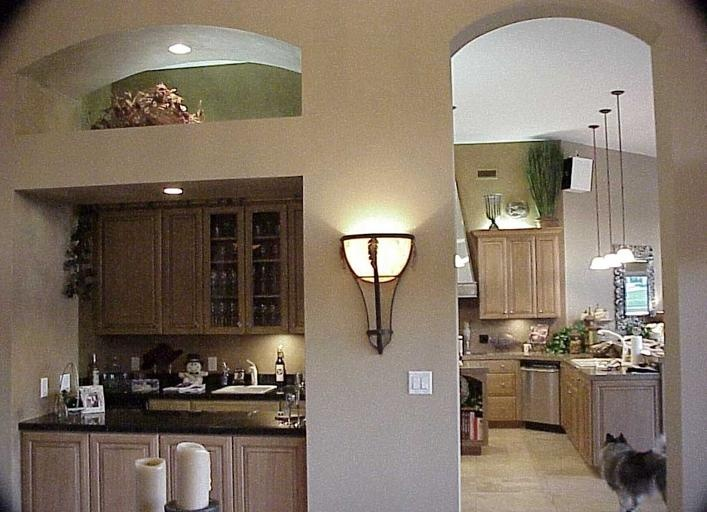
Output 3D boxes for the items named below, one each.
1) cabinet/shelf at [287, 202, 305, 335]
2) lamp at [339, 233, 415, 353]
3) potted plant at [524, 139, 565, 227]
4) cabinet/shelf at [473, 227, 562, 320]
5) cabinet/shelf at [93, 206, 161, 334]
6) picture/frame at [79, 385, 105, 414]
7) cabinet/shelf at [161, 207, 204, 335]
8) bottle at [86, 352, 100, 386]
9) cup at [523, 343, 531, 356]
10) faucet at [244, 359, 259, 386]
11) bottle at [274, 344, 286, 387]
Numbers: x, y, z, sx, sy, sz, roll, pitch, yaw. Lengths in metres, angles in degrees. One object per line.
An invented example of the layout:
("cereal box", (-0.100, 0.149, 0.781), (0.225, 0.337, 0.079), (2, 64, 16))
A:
("cabinet/shelf", (-0.586, 0.107, 7.635), (0.152, 1.324, 0.162), (-1, 4, -9))
("lamp", (0.185, 0.281, 5.643), (0.544, 0.905, 0.178), (0, 4, 5))
("potted plant", (2.628, -1.003, 10.428), (0.479, 1.160, 0.291), (1, 4, 17))
("cabinet/shelf", (2.260, 0.237, 10.336), (1.158, 1.188, 0.483), (0, -4, 6))
("cabinet/shelf", (-2.305, 0.154, 7.831), (0.640, 1.260, 0.163), (-1, 4, -1))
("picture/frame", (-2.268, 1.256, 6.579), (0.217, 0.265, 0.027), (1, -24, -28))
("cabinet/shelf", (-1.761, 0.152, 7.788), (0.409, 1.255, 0.170), (-1, 4, 0))
("bottle", (-2.626, 1.177, 7.711), (0.119, 0.322, 0.568), (-2, 4, -18))
("cup", (2.359, 1.287, 10.382), (0.121, 0.184, 0.123), (3, -4, 0))
("faucet", (-1.044, 1.224, 7.958), (0.120, 0.248, 0.219), (-2, 4, -15))
("bottle", (-0.753, 1.142, 7.908), (0.101, 0.387, 0.191), (-1, 4, -5))
